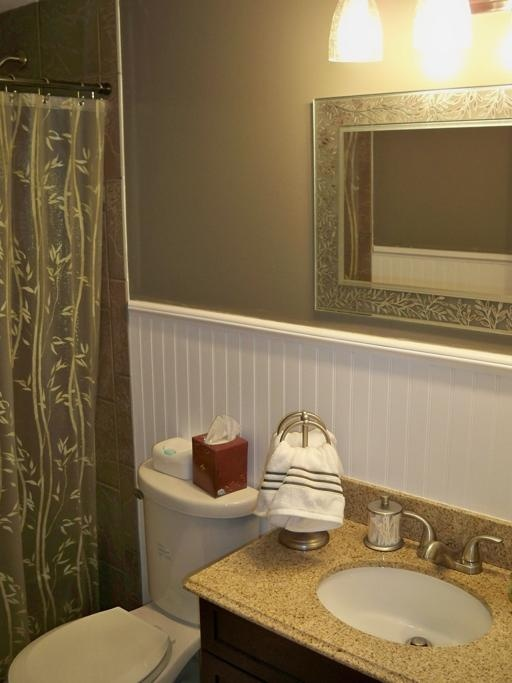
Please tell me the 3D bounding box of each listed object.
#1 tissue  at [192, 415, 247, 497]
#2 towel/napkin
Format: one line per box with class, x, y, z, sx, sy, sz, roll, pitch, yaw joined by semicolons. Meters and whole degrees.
tissue ;-0.130;0.327;1.551;0.097;0.197;0.112;16;2;4
towel/napkin;0.096;0.258;1.126;0.135;0.228;0.075;0;-6;17
